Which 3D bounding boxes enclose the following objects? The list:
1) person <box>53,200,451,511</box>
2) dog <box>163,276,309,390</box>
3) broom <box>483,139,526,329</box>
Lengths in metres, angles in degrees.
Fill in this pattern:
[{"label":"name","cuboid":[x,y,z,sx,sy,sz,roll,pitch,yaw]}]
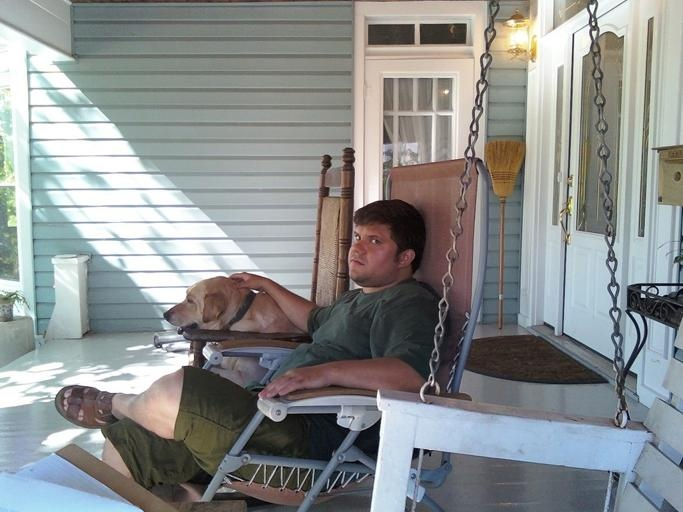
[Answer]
[{"label":"person","cuboid":[-0.409,0.429,2.535,1.332,1.333,1.217,0,1,-19]},{"label":"dog","cuboid":[-0.466,0.357,3.100,0.739,0.480,0.543,1,4,17]},{"label":"broom","cuboid":[1.406,-0.254,5.089,0.419,1.683,0.383,7,7,13]}]
